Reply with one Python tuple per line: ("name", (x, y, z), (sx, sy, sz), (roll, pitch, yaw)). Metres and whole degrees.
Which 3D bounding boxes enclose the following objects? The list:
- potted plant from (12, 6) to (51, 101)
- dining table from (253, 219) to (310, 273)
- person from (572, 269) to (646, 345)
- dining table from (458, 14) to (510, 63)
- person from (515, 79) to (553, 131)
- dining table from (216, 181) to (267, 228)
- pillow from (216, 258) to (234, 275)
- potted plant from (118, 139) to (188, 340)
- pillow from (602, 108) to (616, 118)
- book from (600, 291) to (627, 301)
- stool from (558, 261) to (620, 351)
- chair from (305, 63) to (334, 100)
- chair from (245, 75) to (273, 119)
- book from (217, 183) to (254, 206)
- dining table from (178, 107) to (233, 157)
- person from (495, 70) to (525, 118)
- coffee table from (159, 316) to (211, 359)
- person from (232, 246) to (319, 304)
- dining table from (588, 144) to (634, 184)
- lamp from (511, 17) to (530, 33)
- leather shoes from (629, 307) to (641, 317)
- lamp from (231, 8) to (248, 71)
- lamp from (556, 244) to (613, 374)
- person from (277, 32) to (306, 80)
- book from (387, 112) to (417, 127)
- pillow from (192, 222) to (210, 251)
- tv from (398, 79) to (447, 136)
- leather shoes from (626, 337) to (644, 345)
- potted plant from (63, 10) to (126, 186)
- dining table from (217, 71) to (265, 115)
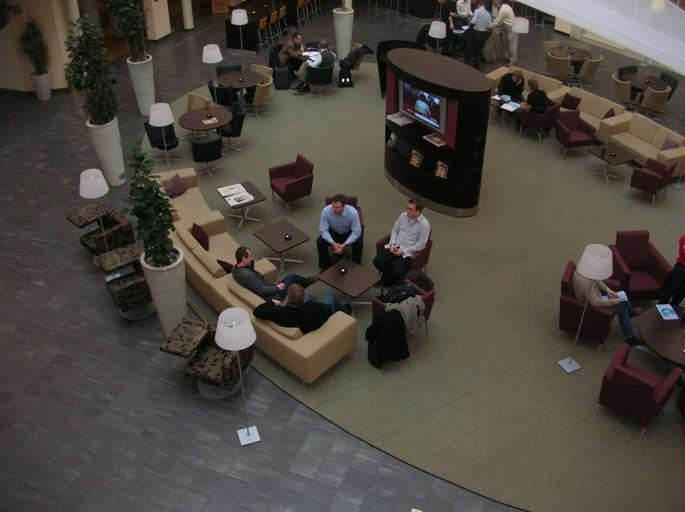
("potted plant", (-7.994, -5.288, 13.791), (0.630, 2.186, 0.762), (-19, 40, -24))
("dining table", (-1.095, -0.359, 9.205), (0.853, 0.699, 0.905), (-29, 54, -27))
("person", (3.915, 0.606, 7.859), (0.786, 1.393, 0.550), (-9, 25, 26))
("dining table", (4.471, -6.635, 16.431), (1.247, 1.763, 1.616), (2, 57, 7))
("person", (4.482, -3.636, 12.623), (0.838, 1.258, 0.579), (22, 51, 34))
("dining table", (-1.936, -1.117, 10.188), (0.836, 0.681, 0.937), (-22, 53, -22))
("pillow", (-1.857, 0.144, 8.379), (0.256, 0.079, 0.254), (39, 24, 20))
("potted plant", (-2.614, -0.002, 7.621), (0.609, 2.576, 1.101), (-14, 39, -19))
("pillow", (6.192, -3.311, 12.276), (0.241, 0.247, 0.070), (-6, 24, -21))
("book", (4.075, 0.593, 7.847), (0.212, 0.064, 0.222), (-4, 29, -7))
("stool", (3.616, 0.762, 7.772), (0.676, 0.934, 0.649), (24, 56, 26))
("chair", (-0.675, -4.958, 14.632), (0.765, 0.998, 0.906), (-3, 48, -6))
("chair", (-2.197, -4.118, 13.632), (0.760, 1.158, 0.865), (11, 60, -2))
("book", (-2.024, -1.167, 10.060), (0.437, 0.096, 0.635), (-22, 47, -23))
("dining table", (-3.047, -2.616, 11.861), (0.863, 0.685, 1.851), (-4, 44, -13))
("person", (4.217, -4.233, 13.201), (0.549, 0.901, 0.937), (3, 79, 8))
("coffee table", (-2.219, 1.132, 7.351), (0.521, 0.145, 0.590), (21, 50, 18))
("person", (-1.051, 0.215, 8.246), (1.322, 1.062, 0.615), (-22, 18, -36))
("dining table", (5.854, -2.000, 11.487), (0.592, 0.531, 0.700), (-29, 54, -19))
("lamp", (5.221, -6.813, 15.543), (0.538, 0.393, 0.575), (0, 38, 4))
("leather shoes", (4.559, 0.865, 8.259), (0.160, 0.109, 0.056), (-29, 53, -10))
("lamp", (-3.077, -6.709, 16.003), (0.437, 1.637, 1.712), (-6, 38, -8))
("lamp", (3.398, 0.682, 7.485), (0.459, 1.752, 0.950), (18, 40, 23))
("person", (-1.480, -5.852, 15.388), (0.662, 1.228, 0.574), (10, 28, 8))
("book", (1.168, -2.755, 10.594), (0.371, 0.043, 0.409), (-39, 57, -24))
("pillow", (-2.364, -0.323, 8.846), (0.121, 0.404, 0.436), (-22, 48, 13))
("tv", (1.525, -2.829, 9.943), (0.111, 0.787, 1.072), (-35, 54, -28))
("leather shoes", (4.367, 1.254, 7.904), (0.159, 0.115, 0.062), (-23, 42, -12))
("potted plant", (-4.913, -3.074, 10.628), (0.754, 3.151, 1.097), (-9, 37, -12))
("dining table", (-2.604, -4.330, 13.809), (0.842, 0.619, 0.904), (-4, 50, -3))
